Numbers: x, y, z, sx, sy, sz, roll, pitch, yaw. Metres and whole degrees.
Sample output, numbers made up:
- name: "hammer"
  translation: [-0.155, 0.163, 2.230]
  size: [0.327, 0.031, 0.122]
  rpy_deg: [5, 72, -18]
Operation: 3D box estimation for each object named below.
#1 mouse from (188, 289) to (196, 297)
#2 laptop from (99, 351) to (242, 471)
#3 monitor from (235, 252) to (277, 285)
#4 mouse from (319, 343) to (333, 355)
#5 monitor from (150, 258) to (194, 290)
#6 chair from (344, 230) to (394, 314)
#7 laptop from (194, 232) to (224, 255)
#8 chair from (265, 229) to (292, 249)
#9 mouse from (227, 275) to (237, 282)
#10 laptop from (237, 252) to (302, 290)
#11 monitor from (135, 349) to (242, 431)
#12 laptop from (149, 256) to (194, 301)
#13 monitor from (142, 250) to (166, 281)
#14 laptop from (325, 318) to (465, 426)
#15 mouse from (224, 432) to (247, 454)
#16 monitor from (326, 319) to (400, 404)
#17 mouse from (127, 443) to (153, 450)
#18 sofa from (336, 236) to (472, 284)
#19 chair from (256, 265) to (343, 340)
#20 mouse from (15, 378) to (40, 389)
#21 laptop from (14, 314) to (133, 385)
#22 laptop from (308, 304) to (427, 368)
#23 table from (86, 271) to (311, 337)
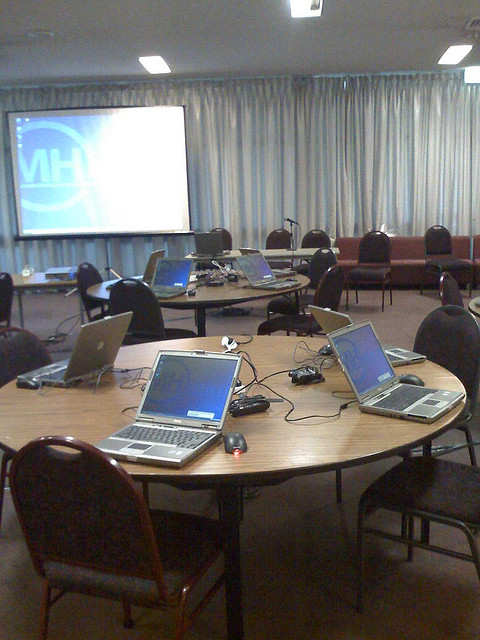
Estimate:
- name: "mouse"
  translation: [-0.333, -0.195, 3.574]
  size: [0.040, 0.030, 0.042]
  rpy_deg: [-2, 11, 9]
- name: "laptop"
  translation: [-0.164, 0.231, 1.314]
  size: [0.234, 0.174, 0.265]
  rpy_deg: [1, 22, 34]
- name: "monitor"
  translation: [0.136, -0.388, 3.850]
  size: [0.231, 0.205, 0.326]
  rpy_deg: [22, 23, 24]
- name: "mouse"
  translation: [0.344, 0.116, 2.038]
  size: [0.031, 0.018, 0.054]
  rpy_deg: [10, 20, 27]
- name: "monitor"
  translation: [-0.483, -0.345, 3.701]
  size: [0.279, 0.188, 0.232]
  rpy_deg: [3, 16, 16]
- name: "chair"
  translation: [1.674, -0.710, 6.630]
  size: [0.657, 0.869, 1.747]
  rpy_deg: [2, 12, 16]
- name: "laptop"
  translation: [-0.324, -0.808, 5.265]
  size: [0.271, 0.209, 0.250]
  rpy_deg: [2, 9, 4]
- name: "chair"
  translation: [0.546, -1.180, 7.358]
  size: [0.269, 0.442, 0.314]
  rpy_deg: [0, 9, 4]
- name: "mouse"
  translation: [-0.057, -0.338, 4.069]
  size: [0.055, 0.052, 0.046]
  rpy_deg: [-7, 14, -3]
- name: "laptop"
  translation: [0.211, -0.370, 3.816]
  size: [0.315, 0.227, 0.365]
  rpy_deg: [1, 15, 23]
- name: "monitor"
  translation: [-0.130, 0.189, 1.373]
  size: [0.239, 0.166, 0.201]
  rpy_deg: [5, 7, 18]
- name: "laptop"
  translation: [-0.541, -0.320, 3.619]
  size: [0.378, 0.256, 0.361]
  rpy_deg: [3, 6, 14]
- name: "monitor"
  translation: [-0.723, -0.469, 4.289]
  size: [0.216, 0.217, 0.311]
  rpy_deg: [12, 12, 13]
- name: "laptop"
  translation: [0.456, 0.174, 1.508]
  size: [0.298, 0.209, 0.312]
  rpy_deg: [6, 17, 35]
- name: "mouse"
  translation: [-0.010, 0.290, 1.200]
  size: [0.051, 0.029, 0.069]
  rpy_deg: [-2, 12, -5]
- name: "monitor"
  translation: [0.371, 0.163, 1.574]
  size: [0.204, 0.188, 0.303]
  rpy_deg: [-16, 21, 30]
- name: "mouse"
  translation: [-0.232, 0.296, 1.187]
  size: [0.046, 0.005, 0.038]
  rpy_deg: [3, 12, 19]
- name: "sofa"
  translation: [2.360, -0.840, 7.254]
  size: [1.920, 0.673, 0.900]
  rpy_deg: [0, 12, 6]
- name: "chair"
  translation: [0.492, -0.220, 3.867]
  size: [0.543, 0.927, 0.500]
  rpy_deg: [5, 13, 22]
- name: "mouse"
  translation: [-0.724, 0.216, 1.744]
  size: [0.044, 0.018, 0.049]
  rpy_deg: [4, 5, 14]
- name: "laptop"
  translation: [-0.587, 0.095, 1.814]
  size: [0.315, 0.203, 0.354]
  rpy_deg: [2, 7, 3]
- name: "laptop"
  translation: [0.506, 0.130, 1.971]
  size: [0.261, 0.182, 0.287]
  rpy_deg: [-2, -18, -32]
- name: "table"
  translation: [-0.065, -0.070, 3.754]
  size: [1.161, 0.417, 0.793]
  rpy_deg: [-6, 13, -23]
